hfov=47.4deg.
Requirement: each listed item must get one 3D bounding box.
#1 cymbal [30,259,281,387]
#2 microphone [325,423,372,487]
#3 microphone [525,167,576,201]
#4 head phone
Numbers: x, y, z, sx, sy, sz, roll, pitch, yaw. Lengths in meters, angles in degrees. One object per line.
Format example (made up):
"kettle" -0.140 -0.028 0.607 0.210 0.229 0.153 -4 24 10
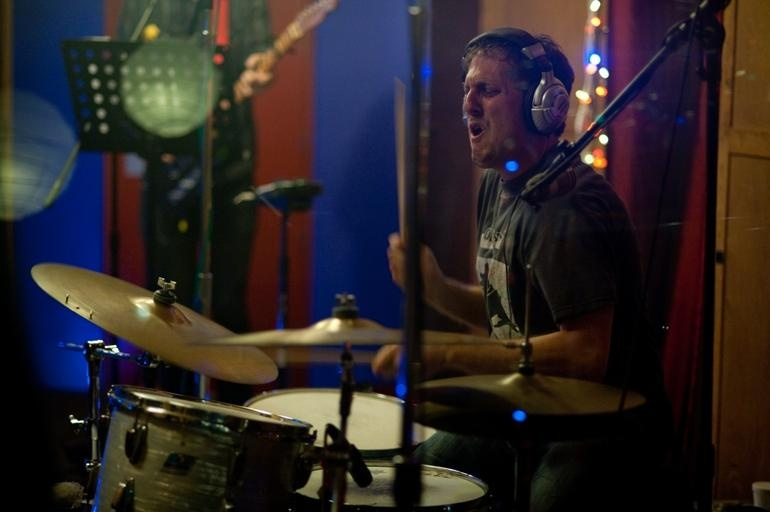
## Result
"cymbal" -0.898 0.200 3.566 0.702 0.177 0.716 21 9 19
"microphone" -0.128 0.707 3.071 0.192 0.238 0.113 4 -3 -43
"microphone" 0.630 -0.265 3.299 0.197 0.137 0.093 4 -3 -31
"head phone" 0.506 -0.680 3.429 0.184 0.397 0.401 -28 9 -22
